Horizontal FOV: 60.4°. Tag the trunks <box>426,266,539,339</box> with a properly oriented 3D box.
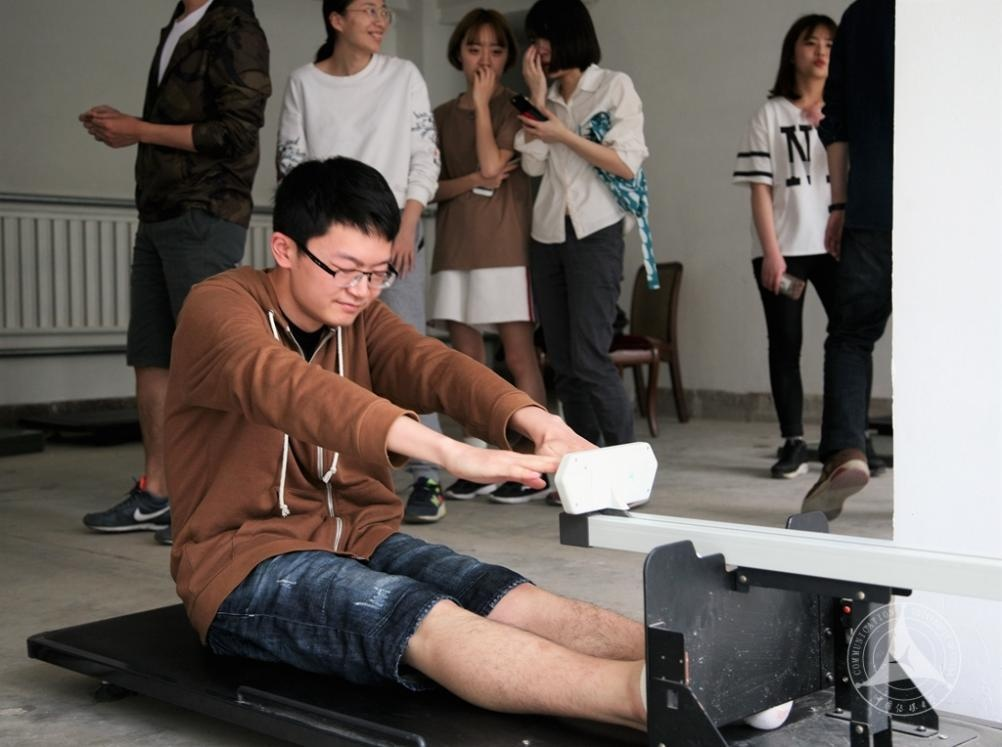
[{"bbox_3d":[-0.079,-0.311,3.446,0.387,0.230,0.244,-1,-1,28],"label":"trunks"}]

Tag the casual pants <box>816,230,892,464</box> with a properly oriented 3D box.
[{"bbox_3d":[1.058,-0.075,2.591,0.171,0.715,0.228,1,4,14],"label":"casual pants"}]

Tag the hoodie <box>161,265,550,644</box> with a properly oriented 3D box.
[{"bbox_3d":[-0.284,0.173,1.647,0.574,0.700,0.784,2,-2,-43],"label":"hoodie"}]

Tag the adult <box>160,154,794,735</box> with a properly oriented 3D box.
[{"bbox_3d":[-0.073,0.092,1.520,1.195,0.943,0.526,3,2,34],"label":"adult"}]

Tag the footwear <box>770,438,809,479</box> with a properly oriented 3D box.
[{"bbox_3d":[1.352,0.393,4.021,0.101,0.138,0.291,1,0,30],"label":"footwear"}]

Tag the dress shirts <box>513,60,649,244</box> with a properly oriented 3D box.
[{"bbox_3d":[0.284,-0.837,3.272,0.507,0.644,0.319,6,10,31],"label":"dress shirts"}]

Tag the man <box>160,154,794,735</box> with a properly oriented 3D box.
[{"bbox_3d":[-0.083,0.102,1.509,1.185,0.916,0.517,4,3,36],"label":"man"}]

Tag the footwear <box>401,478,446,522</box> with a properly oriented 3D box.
[{"bbox_3d":[-0.267,0.455,3.115,0.110,0.143,0.319,1,2,10],"label":"footwear"}]

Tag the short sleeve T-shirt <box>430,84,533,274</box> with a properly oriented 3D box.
[{"bbox_3d":[-0.126,-0.786,3.502,0.414,0.718,0.254,1,35,-3],"label":"short sleeve T-shirt"}]

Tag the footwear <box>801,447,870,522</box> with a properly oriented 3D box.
[{"bbox_3d":[1.031,0.346,2.698,0.120,0.121,0.336,12,-39,-7],"label":"footwear"}]
